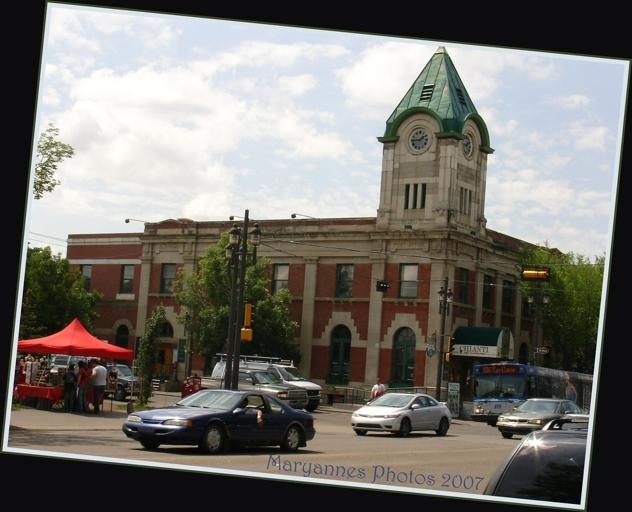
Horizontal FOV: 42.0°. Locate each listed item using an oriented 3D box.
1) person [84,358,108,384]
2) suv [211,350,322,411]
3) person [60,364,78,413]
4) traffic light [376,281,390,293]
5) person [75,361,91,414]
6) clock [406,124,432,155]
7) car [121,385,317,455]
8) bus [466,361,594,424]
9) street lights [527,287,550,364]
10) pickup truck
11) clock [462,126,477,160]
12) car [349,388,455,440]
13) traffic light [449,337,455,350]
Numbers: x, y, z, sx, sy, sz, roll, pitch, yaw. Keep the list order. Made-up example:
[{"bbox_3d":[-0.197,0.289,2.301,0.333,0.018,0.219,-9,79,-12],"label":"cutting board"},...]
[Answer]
[{"bbox_3d":[-5.815,3.079,21.759,0.462,0.864,0.879,-3,-5,17],"label":"person"},{"bbox_3d":[-1.372,3.831,25.546,2.956,1.313,1.676,-2,-6,37],"label":"suv"},{"bbox_3d":[-6.532,3.531,21.915,0.377,1.172,0.794,6,-9,-17],"label":"person"},{"bbox_3d":[1.971,0.918,24.634,0.309,0.425,0.439,-3,-10,26],"label":"traffic light"},{"bbox_3d":[-6.084,3.437,21.548,0.358,1.326,0.839,6,-8,-15],"label":"person"},{"bbox_3d":[3.688,-4.162,29.756,0.987,1.143,0.379,7,-27,-14],"label":"clock"},{"bbox_3d":[-1.683,3.052,15.449,1.554,0.818,2.783,-9,-18,41],"label":"car"},{"bbox_3d":[6.737,4.551,27.738,1.772,2.055,6.959,-8,-15,40],"label":"bus"},{"bbox_3d":[8.387,2.757,31.102,0.750,2.885,0.698,13,-22,-22],"label":"street lights"},{"bbox_3d":[-1.977,4.169,24.622,2.855,1.166,1.447,-3,-5,28],"label":"pickup truck"},{"bbox_3d":[5.493,-4.068,29.656,0.131,1.119,1.110,1,9,40],"label":"clock"},{"bbox_3d":[2.302,4.130,21.584,1.032,1.010,2.703,-5,-12,45],"label":"car"},{"bbox_3d":[4.183,2.724,25.491,0.089,0.361,0.383,2,-2,18],"label":"traffic light"}]
